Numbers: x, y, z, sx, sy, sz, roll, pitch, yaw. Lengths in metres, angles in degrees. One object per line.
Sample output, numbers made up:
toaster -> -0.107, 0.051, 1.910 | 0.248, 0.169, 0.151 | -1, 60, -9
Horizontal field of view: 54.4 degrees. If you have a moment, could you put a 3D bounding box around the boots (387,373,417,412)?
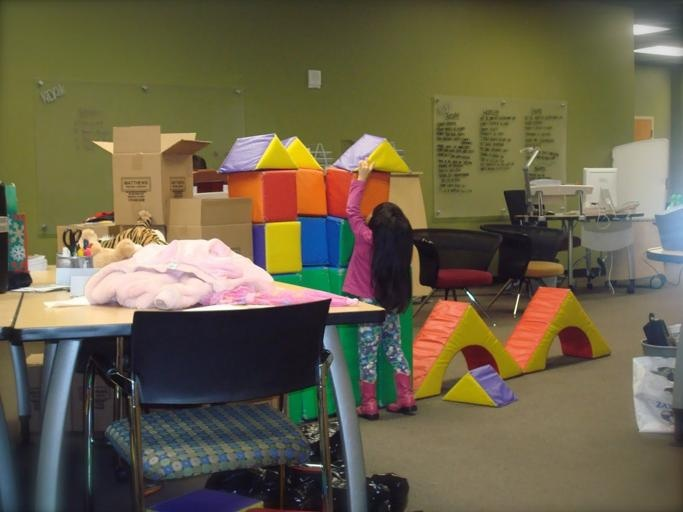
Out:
boots -> 0.368, 0.881, 4.276 | 0.134, 0.263, 0.251 | -5, -9, -37

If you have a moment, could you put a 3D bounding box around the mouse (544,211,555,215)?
mouse -> 2.429, -0.500, 7.746 | 0.128, 0.067, 0.098 | -2, 4, 1

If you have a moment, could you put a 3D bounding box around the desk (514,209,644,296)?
desk -> 2.892, 0.123, 7.868 | 1.063, 0.786, 1.202 | -2, 8, -2

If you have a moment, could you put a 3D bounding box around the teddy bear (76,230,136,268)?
teddy bear -> -1.105, -0.040, 3.156 | 0.257, 0.175, 0.230 | -5, 5, -24

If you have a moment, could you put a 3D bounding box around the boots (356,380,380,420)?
boots -> 0.158, 0.914, 4.236 | 0.109, 0.254, 0.248 | -2, -5, -18

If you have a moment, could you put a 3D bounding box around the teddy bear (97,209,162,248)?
teddy bear -> -1.128, -0.115, 3.573 | 0.320, 0.137, 0.196 | -12, 19, -41

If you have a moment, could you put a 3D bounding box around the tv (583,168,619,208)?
tv -> 3.177, -0.823, 8.016 | 0.417, 0.478, 0.219 | -1, -1, 7
